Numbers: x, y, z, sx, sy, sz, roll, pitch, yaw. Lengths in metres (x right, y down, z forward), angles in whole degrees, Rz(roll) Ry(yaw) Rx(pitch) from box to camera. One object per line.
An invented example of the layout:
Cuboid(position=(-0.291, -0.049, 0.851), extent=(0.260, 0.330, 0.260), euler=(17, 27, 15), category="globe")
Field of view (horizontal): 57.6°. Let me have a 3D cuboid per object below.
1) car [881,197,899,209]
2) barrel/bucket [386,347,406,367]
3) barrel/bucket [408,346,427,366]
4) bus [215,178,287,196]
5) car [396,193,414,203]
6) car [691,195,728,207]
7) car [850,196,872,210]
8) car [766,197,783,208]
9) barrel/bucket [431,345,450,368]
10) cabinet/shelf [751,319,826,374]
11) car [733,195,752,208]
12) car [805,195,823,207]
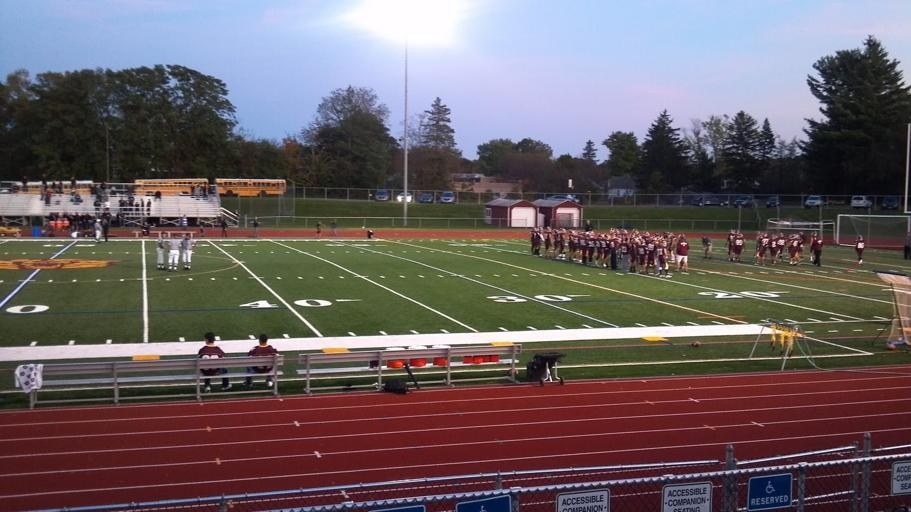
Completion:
Cuboid(position=(40.922, -4.957, 77.774), extent=(1.196, 1.117, 1.540), euler=(-3, 13, -12), category="car")
Cuboid(position=(-2.009, 3.334, 26.974), extent=(0.786, 0.597, 0.660), euler=(0, 4, -12), category="barrel/bucket")
Cuboid(position=(-1.131, 3.286, 27.189), extent=(0.789, 0.537, 0.702), euler=(-3, 7, -28), category="barrel/bucket")
Cuboid(position=(-21.457, -7.441, 87.169), extent=(9.598, 1.804, 2.654), euler=(0, 2, -20), category="bus")
Cuboid(position=(-5.783, -6.185, 91.312), extent=(2.182, 1.190, 3.148), euler=(0, -2, 0), category="car")
Cuboid(position=(27.345, -5.995, 89.670), extent=(4.048, 0.960, 1.563), euler=(-2, 6, 0), category="car")
Cuboid(position=(39.420, -5.180, 80.104), extent=(1.446, 0.924, 2.451), euler=(9, 18, 41), category="car")
Cuboid(position=(32.983, -5.582, 86.119), extent=(1.163, 0.703, 1.852), euler=(-1, -2, 28), category="car")
Cuboid(position=(-0.534, 3.250, 26.859), extent=(0.767, 0.534, 0.705), euler=(1, 0, 0), category="barrel/bucket")
Cuboid(position=(11.789, 3.129, 29.653), extent=(2.210, 1.095, 2.068), euler=(-10, 15, -36), category="cabinet/shelf")
Cuboid(position=(30.456, -5.672, 87.504), extent=(1.447, 1.145, 2.033), euler=(2, 12, 6), category="car")
Cuboid(position=(35.919, -5.494, 82.916), extent=(1.204, 0.776, 2.093), euler=(1, 2, 38), category="car")
